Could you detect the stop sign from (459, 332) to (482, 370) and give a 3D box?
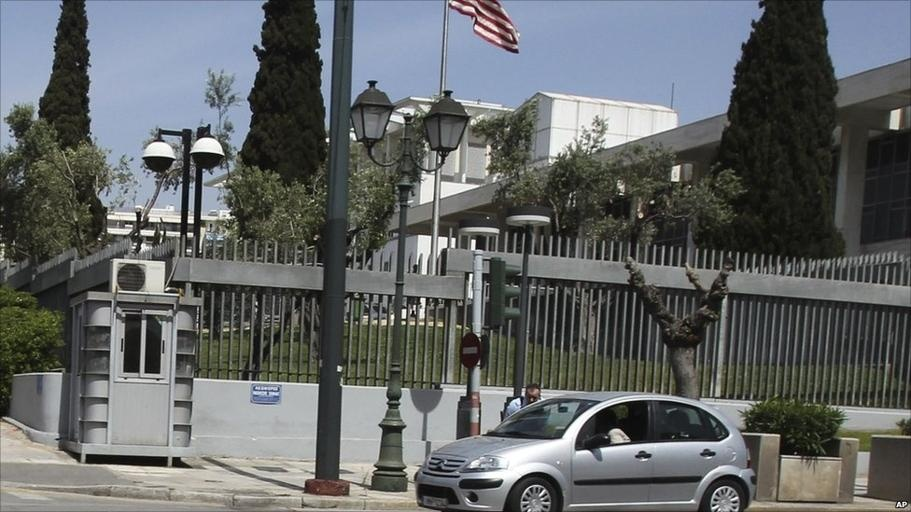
[{"bbox_3d":[0.505,3.107,47.337,0.182,1.357,1.156,-3,3,-38],"label":"stop sign"}]

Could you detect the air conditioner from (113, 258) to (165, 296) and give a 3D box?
[{"bbox_3d":[-10.501,0.745,48.355,1.785,1.267,1.046,3,-10,-21],"label":"air conditioner"}]

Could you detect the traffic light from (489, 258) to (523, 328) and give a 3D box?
[{"bbox_3d":[1.572,1.196,47.722,0.966,2.197,0.554,3,-7,-14],"label":"traffic light"}]
